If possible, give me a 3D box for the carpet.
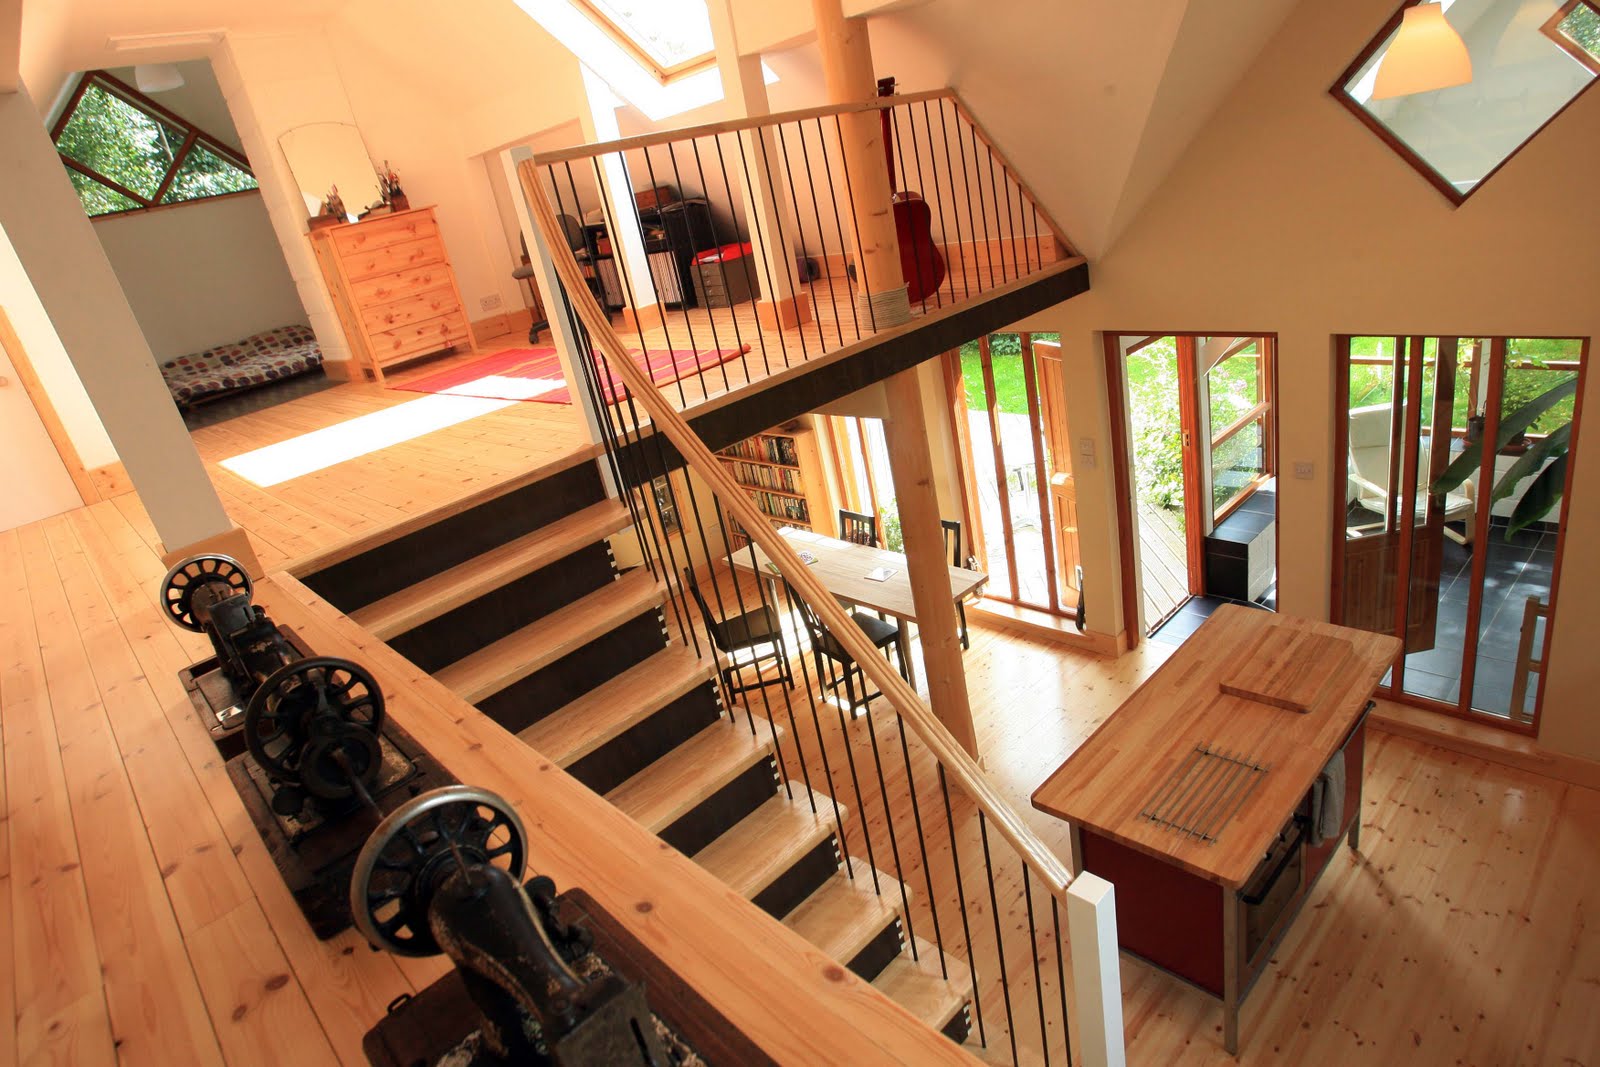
[{"bbox_3d":[-2.096,-1.307,7.900,3.573,0.213,1.153,12,31,40],"label":"carpet"}]

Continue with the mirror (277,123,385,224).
[{"bbox_3d":[-4.085,-3.306,8.832,0.948,0.125,1.231,-19,45,-7],"label":"mirror"}]

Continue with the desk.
[{"bbox_3d":[0.661,0.607,9.043,1.039,0.997,2.167,-22,26,-27],"label":"desk"}]

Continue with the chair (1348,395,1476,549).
[{"bbox_3d":[4.387,-0.429,7.173,0.665,0.919,0.706,-15,40,-5],"label":"chair"}]

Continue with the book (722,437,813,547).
[{"bbox_3d":[-0.224,-0.412,8.984,0.941,0.891,0.345,22,38,39],"label":"book"}]

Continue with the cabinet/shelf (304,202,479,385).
[{"bbox_3d":[-3.606,-2.124,9.004,1.012,1.236,0.692,-27,30,-34],"label":"cabinet/shelf"}]

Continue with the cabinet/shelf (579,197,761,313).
[{"bbox_3d":[-1.120,-2.428,8.949,1.521,1.083,2.506,-13,23,-7],"label":"cabinet/shelf"}]

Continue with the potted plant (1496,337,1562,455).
[{"bbox_3d":[4.852,-0.907,6.653,0.361,0.777,0.154,-6,24,8],"label":"potted plant"}]

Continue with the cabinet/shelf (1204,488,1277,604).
[{"bbox_3d":[4.398,0.129,9.509,1.203,0.560,0.342,-23,24,-32],"label":"cabinet/shelf"}]
